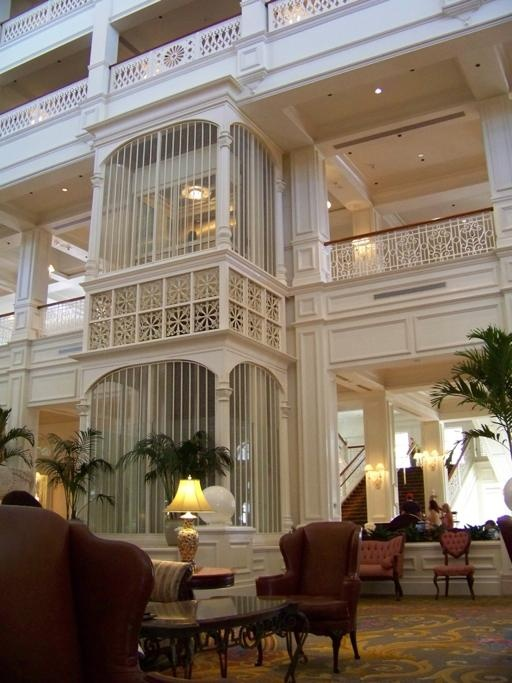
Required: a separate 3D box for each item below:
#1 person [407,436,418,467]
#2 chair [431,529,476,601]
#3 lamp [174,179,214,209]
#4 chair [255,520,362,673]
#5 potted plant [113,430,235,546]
[{"bbox_3d":[5.501,3.900,18.092,0.367,1.050,1.365,-7,-14,15],"label":"person"},{"bbox_3d":[2.956,3.374,7.668,0.675,1.117,0.734,-4,-34,14],"label":"chair"},{"bbox_3d":[-0.911,-2.370,8.160,0.499,0.462,0.122,-2,2,26],"label":"lamp"},{"bbox_3d":[0.518,2.059,4.221,0.822,1.087,0.781,-18,-32,39],"label":"chair"},{"bbox_3d":[-1.088,1.767,6.547,1.376,1.371,1.227,10,-21,-40],"label":"potted plant"}]
